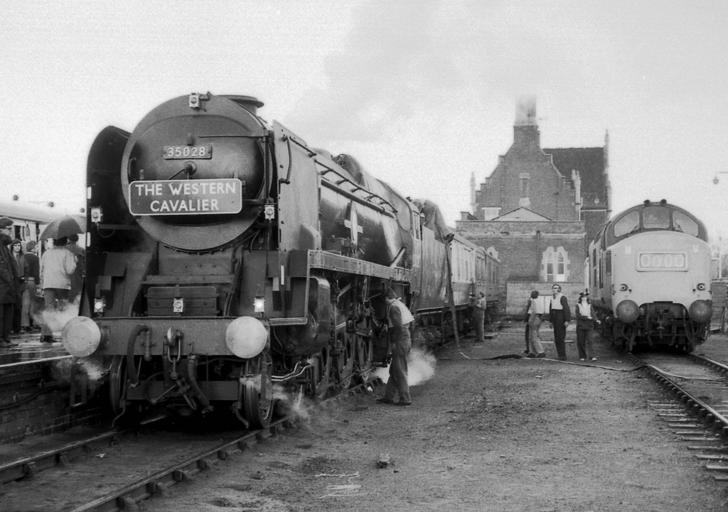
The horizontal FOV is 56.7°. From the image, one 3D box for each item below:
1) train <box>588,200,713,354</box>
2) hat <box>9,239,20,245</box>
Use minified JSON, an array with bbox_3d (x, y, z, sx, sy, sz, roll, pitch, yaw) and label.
[{"bbox_3d":[9.173,0.680,22.261,2.996,4.903,4.046,0,-6,-6],"label":"train"},{"bbox_3d":[-7.043,-0.279,13.579,0.233,0.127,0.319,0,-2,-15],"label":"hat"}]
